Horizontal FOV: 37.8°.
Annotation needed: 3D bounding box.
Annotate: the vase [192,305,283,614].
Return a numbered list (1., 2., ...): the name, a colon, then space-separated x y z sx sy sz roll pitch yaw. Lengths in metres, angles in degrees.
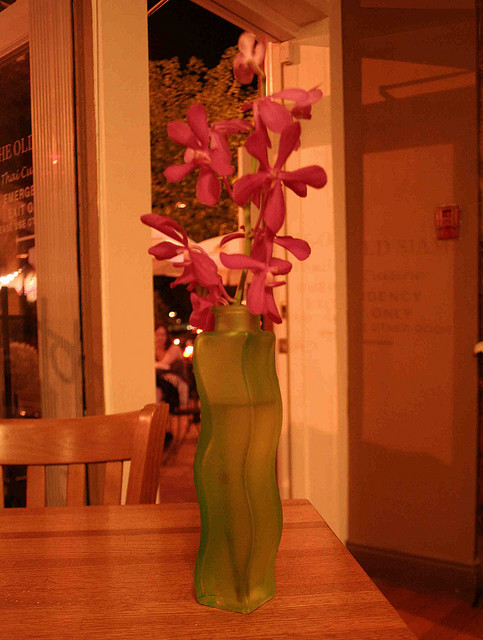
1. vase: -0.006 0.152 0.790 0.103 0.334 0.066 3 7 5
